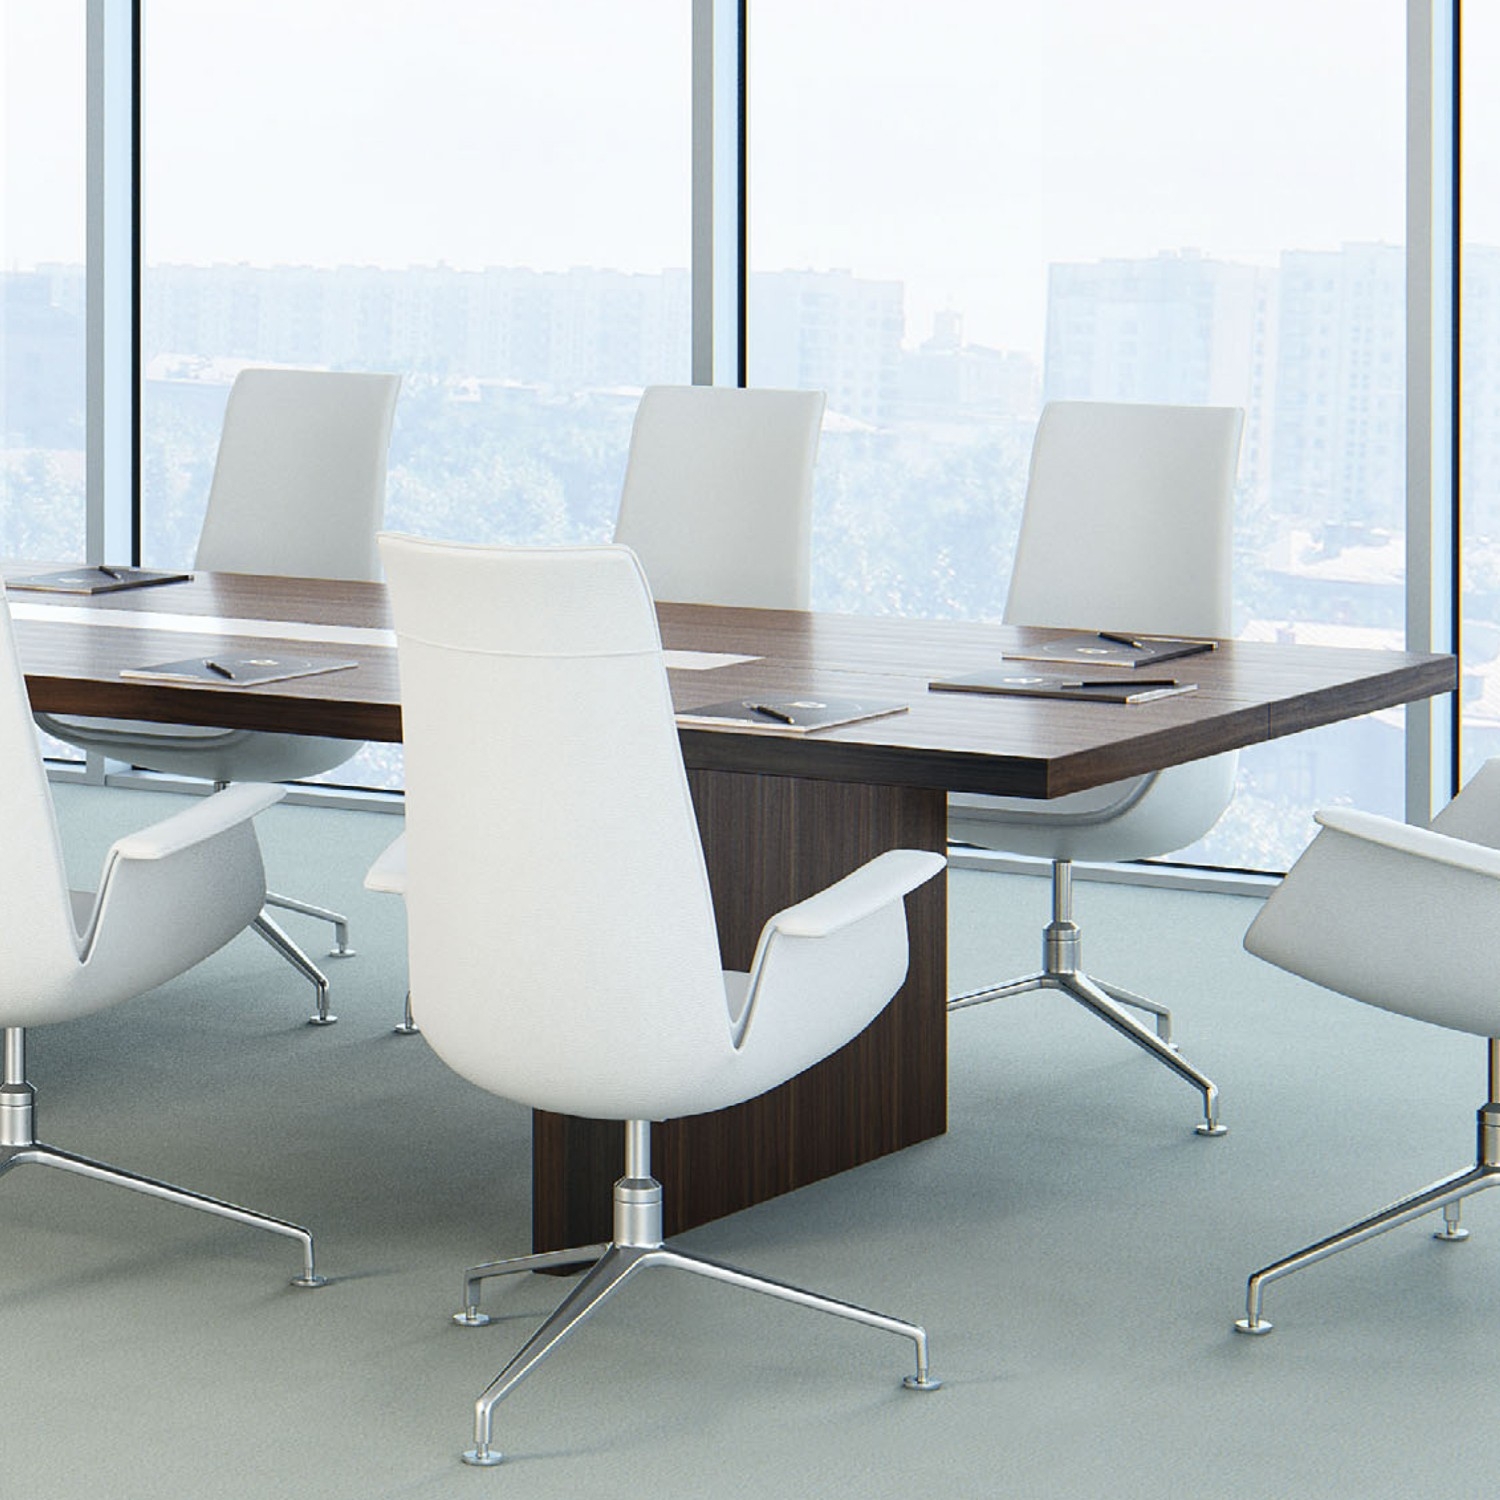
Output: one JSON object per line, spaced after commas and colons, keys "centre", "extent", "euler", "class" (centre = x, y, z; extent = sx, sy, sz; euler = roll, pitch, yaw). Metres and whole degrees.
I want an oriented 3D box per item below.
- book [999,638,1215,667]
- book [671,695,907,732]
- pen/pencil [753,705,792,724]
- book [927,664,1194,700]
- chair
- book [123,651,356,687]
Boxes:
{"centre": [0.527, -0.147, 2.631], "extent": [0.242, 0.031, 0.388], "euler": [4, 7, 32], "class": "book"}
{"centre": [0.045, -0.042, 2.056], "extent": [0.210, 0.022, 0.271], "euler": [3, 7, 27], "class": "book"}
{"centre": [0.023, -0.040, 1.998], "extent": [0.016, 0.008, 0.064], "euler": [-8, 12, -28], "class": "pen/pencil"}
{"centre": [0.397, -0.084, 2.310], "extent": [0.331, 0.029, 0.246], "euler": [3, 7, 25], "class": "book"}
{"centre": [0.002, -0.041, 2.768], "extent": [2.172, 0.983, 1.734], "euler": [4, 7, 32], "class": "chair"}
{"centre": [-0.697, -0.105, 2.387], "extent": [0.308, 0.027, 0.285], "euler": [-1, 6, -7], "class": "book"}
